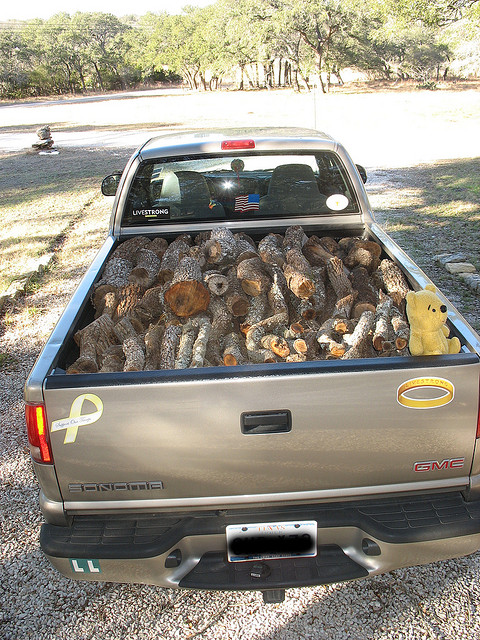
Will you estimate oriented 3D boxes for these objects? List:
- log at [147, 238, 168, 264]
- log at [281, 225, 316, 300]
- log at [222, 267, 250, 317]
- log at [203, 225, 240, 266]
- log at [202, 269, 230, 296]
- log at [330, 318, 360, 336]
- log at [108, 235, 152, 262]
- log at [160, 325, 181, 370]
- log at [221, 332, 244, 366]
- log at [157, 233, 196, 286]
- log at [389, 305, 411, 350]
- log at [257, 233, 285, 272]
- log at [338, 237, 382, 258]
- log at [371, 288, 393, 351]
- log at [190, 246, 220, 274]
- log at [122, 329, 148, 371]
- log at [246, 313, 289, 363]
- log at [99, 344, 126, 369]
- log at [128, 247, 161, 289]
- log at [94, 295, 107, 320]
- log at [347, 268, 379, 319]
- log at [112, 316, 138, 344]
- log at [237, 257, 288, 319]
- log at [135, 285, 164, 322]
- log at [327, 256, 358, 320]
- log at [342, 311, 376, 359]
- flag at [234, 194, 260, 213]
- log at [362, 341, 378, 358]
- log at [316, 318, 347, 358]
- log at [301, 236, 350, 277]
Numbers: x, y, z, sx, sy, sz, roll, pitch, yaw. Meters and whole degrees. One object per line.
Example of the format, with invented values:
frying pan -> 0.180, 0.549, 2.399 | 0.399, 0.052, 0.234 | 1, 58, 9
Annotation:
log -> -0.553, -0.464, 3.495 | 0.127, 0.055, 0.150 | -7, 52, 1
log -> 0.345, -0.339, 3.052 | 0.137, 0.138, 0.527 | -30, 25, 13
log -> -0.031, -0.160, 2.930 | 0.112, 0.088, 0.311 | -19, 31, 4
log -> -0.108, -0.451, 3.143 | 0.186, 0.099, 0.258 | 2, 32, -2
log -> -0.146, -0.208, 2.881 | 0.110, 0.064, 0.173 | 19, 10, -12
log -> 0.523, 0.036, 2.612 | 0.084, 0.035, 0.104 | -17, 3, 17
log -> -0.737, -0.490, 3.384 | 0.136, 0.064, 0.224 | 17, 46, 28
log -> -0.345, 0.159, 2.488 | 0.105, 0.081, 0.321 | 17, 36, -17
log -> -0.042, 0.149, 2.502 | 0.069, 0.048, 0.187 | -5, 20, -5
log -> -0.398, -0.392, 3.328 | 0.158, 0.122, 0.438 | 9, 39, 16
log -> 0.770, 0.038, 2.509 | 0.071, 0.054, 0.277 | -5, 23, 11
log -> 0.156, -0.420, 3.210 | 0.197, 0.094, 0.230 | 13, 49, -41
log -> 0.757, -0.461, 3.304 | 0.226, 0.051, 0.112 | 18, 17, 36
log -> 0.701, 0.004, 2.568 | 0.095, 0.090, 0.375 | -5, 27, 18
log -> -0.245, -0.378, 3.172 | 0.056, 0.145, 0.181 | -42, 55, 10
log -> -0.507, 0.149, 2.448 | 0.089, 0.075, 0.246 | 1, 24, 1
log -> 0.130, 0.082, 2.630 | 0.242, 0.055, 0.203 | -24, 54, -20
log -> -0.626, 0.176, 2.563 | 0.108, 0.023, 0.094 | -6, 35, 5
log -> -0.604, -0.346, 3.274 | 0.198, 0.105, 0.300 | 11, 39, -4
log -> -0.781, -0.068, 2.864 | 0.040, 0.090, 0.100 | 12, 32, 30
log -> 0.694, -0.151, 2.948 | 0.176, 0.104, 0.291 | 14, 44, 2
log -> -0.597, 0.047, 2.644 | 0.122, 0.033, 0.124 | -31, 65, -14
log -> 0.117, -0.173, 2.892 | 0.237, 0.119, 0.378 | -21, 58, -9
log -> -0.544, -0.092, 3.049 | 0.056, 0.142, 0.219 | -19, 37, 53
log -> 0.571, -0.190, 2.899 | 0.154, 0.102, 0.395 | -6, 45, 8
log -> 0.563, 0.079, 2.467 | 0.095, 0.074, 0.308 | -10, 30, 39
flag -> 0.044, -0.810, 3.633 | 0.218, 0.020, 0.164 | -1, 51, 3
log -> 0.617, 0.142, 2.442 | 0.020, 0.076, 0.076 | -30, -1, 44
log -> 0.430, 0.091, 2.486 | 0.045, 0.135, 0.146 | -36, 29, 28
log -> 0.499, -0.422, 3.276 | 0.180, 0.141, 0.317 | -41, 54, -3
